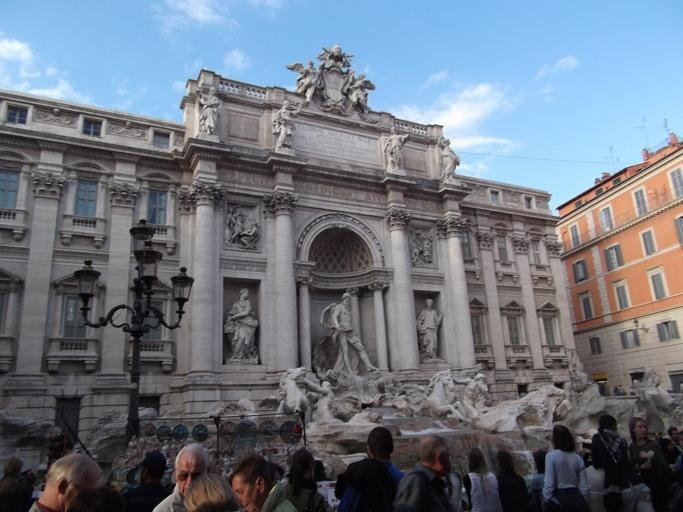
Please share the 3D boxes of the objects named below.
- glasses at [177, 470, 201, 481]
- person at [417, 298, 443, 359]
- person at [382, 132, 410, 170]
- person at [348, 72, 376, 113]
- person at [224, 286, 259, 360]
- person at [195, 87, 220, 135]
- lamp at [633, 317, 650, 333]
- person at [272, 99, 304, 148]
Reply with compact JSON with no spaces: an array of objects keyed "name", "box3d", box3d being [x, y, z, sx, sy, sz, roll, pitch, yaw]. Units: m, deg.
[{"name":"glasses","box3d":[-1.598,2.326,5.560,0.249,0.094,0.128,-10,-17,32]},{"name":"person","box3d":[4.689,3.898,27.617,1.398,3.136,0.638,8,-19,-29]},{"name":"person","box3d":[2.918,-5.651,28.536,1.139,2.603,0.862,-1,-16,0]},{"name":"person","box3d":[1.070,-9.079,29.322,1.314,2.120,0.606,10,-20,-36]},{"name":"person","box3d":[-4.500,3.166,23.321,1.522,3.169,0.620,1,-17,-10]},{"name":"person","box3d":[-6.291,-6.740,24.476,0.885,2.785,0.603,4,-17,-17]},{"name":"lamp","box3d":[19.852,4.542,34.560,0.459,1.013,0.988,2,-16,-12]},{"name":"person","box3d":[-2.646,-6.552,26.259,1.683,3.248,0.909,9,-19,-32]}]
